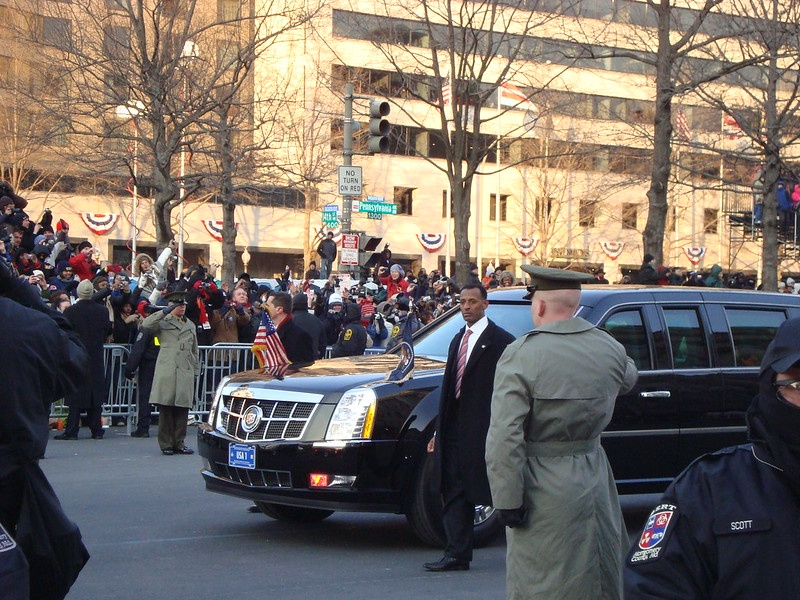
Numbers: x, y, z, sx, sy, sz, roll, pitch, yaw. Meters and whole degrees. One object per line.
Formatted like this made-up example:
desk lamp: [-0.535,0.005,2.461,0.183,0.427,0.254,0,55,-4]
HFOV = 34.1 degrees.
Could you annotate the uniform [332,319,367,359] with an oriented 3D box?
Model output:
uniform: [-0.921,0.541,22.097,0.525,0.793,0.935,5,3,26]

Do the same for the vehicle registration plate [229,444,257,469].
vehicle registration plate: [-1.777,1.764,14.636,0.391,0.210,0.076,1,-2,41]

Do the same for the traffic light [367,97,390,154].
traffic light: [-0.357,-3.034,22.664,0.340,0.667,0.567,2,-1,-2]

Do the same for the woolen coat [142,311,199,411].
woolen coat: [-3.332,0.896,19.436,0.602,1.691,0.618,0,0,-33]

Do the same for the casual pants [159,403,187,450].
casual pants: [-3.386,1.927,19.373,0.426,0.545,0.303,2,-1,-9]

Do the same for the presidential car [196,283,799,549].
presidential car: [1.605,1.277,15.272,6.899,2.277,3.032,4,-5,-27]
